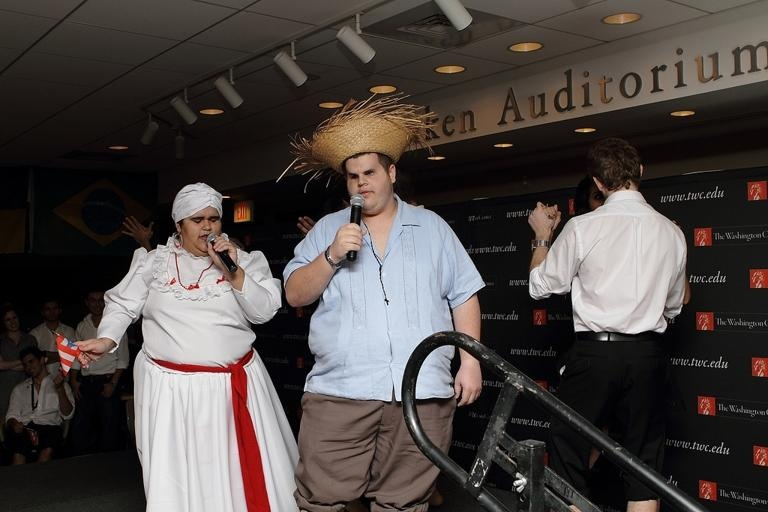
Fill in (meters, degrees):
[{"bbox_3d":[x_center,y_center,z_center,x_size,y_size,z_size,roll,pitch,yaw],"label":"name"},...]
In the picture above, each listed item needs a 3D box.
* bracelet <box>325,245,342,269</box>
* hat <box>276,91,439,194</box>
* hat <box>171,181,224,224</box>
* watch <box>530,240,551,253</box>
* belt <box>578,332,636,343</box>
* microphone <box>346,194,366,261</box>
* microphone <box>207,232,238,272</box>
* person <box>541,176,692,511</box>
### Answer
[{"bbox_3d":[-0.227,0.008,2.227,0.066,0.094,0.059,4,-7,-23],"label":"bracelet"},{"bbox_3d":[-0.072,-0.483,2.487,0.609,0.224,0.735,13,37,36],"label":"hat"},{"bbox_3d":[-1.108,-0.291,2.983,0.315,0.291,0.331,0,4,-11],"label":"hat"},{"bbox_3d":[0.955,-0.067,3.044,0.101,0.072,0.111,1,-1,28],"label":"watch"},{"bbox_3d":[1.189,0.434,2.678,0.286,0.050,0.070,-3,-8,26],"label":"belt"},{"bbox_3d":[-0.113,-0.126,2.241,0.083,0.283,0.084,6,-20,-14],"label":"microphone"},{"bbox_3d":[-0.887,-0.016,2.729,0.226,0.226,0.069,-4,-9,37],"label":"microphone"},{"bbox_3d":[1.251,0.314,2.760,0.805,1.603,0.338,-1,-7,18],"label":"person"}]
